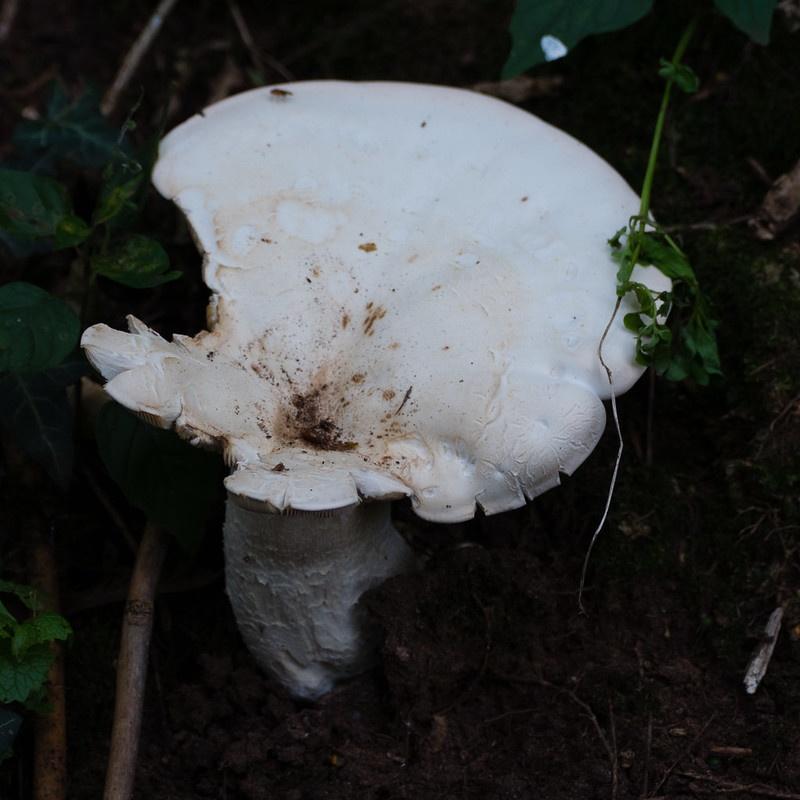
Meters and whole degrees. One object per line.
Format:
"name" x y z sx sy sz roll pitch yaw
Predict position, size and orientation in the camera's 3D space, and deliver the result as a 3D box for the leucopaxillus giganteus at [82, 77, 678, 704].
"leucopaxillus giganteus" -0.046 -0.353 3.968 1.735 0.497 1.594 1 62 0
